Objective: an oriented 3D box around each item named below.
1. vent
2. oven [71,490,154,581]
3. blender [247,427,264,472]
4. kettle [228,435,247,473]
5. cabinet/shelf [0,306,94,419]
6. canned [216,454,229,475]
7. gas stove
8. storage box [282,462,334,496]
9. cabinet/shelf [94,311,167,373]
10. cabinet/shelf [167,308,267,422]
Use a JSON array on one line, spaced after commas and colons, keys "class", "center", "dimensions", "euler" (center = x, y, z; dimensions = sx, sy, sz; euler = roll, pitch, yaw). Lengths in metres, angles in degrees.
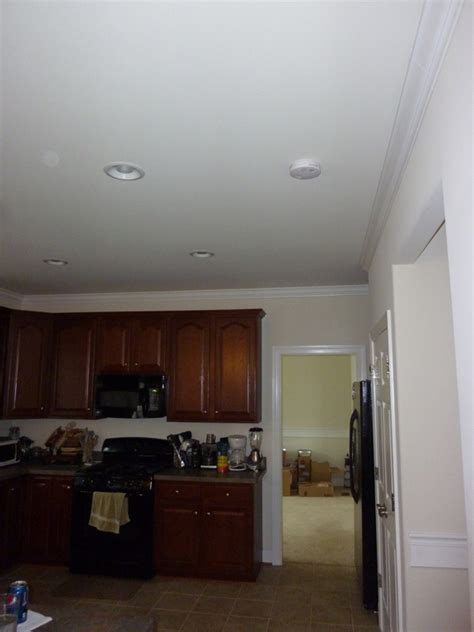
[{"class": "vent", "center": [-1.100, 0.844, 4.390], "dimensions": [0.760, 0.431, 0.164], "euler": [-2, -10, 14]}, {"class": "oven", "center": [-1.129, 1.892, 3.986], "dimensions": [0.742, 0.882, 0.580], "euler": [3, 6, 0]}, {"class": "blender", "center": [0.182, 1.326, 4.269], "dimensions": [0.165, 0.372, 0.523], "euler": [0, -11, 2]}, {"class": "kettle", "center": [-0.009, 1.343, 4.228], "dimensions": [0.215, 0.432, 0.259], "euler": [-1, 0, -13]}, {"class": "cabinet/shelf", "center": [-1.983, 0.530, 4.523], "dimensions": [0.888, 1.114, 0.351], "euler": [5, -11, -23]}, {"class": "canned", "center": [-0.123, 1.393, 4.005], "dimensions": [0.110, 0.238, 0.153], "euler": [-1, 2, 7]}, {"class": "gas stove", "center": [-1.060, 1.556, 4.067], "dimensions": [0.808, 0.191, 0.565], "euler": [-1, -11, 11]}, {"class": "storage box", "center": [1.135, 2.726, 6.952], "dimensions": [0.817, 0.450, 0.541], "euler": [1, -11, -1]}, {"class": "cabinet/shelf", "center": [-1.102, 0.302, 4.493], "dimensions": [0.506, 0.542, 0.233], "euler": [-1, -7, 10]}, {"class": "cabinet/shelf", "center": [-0.224, 0.526, 4.299], "dimensions": [0.878, 1.308, 0.431], "euler": [-1, -9, 12]}]
